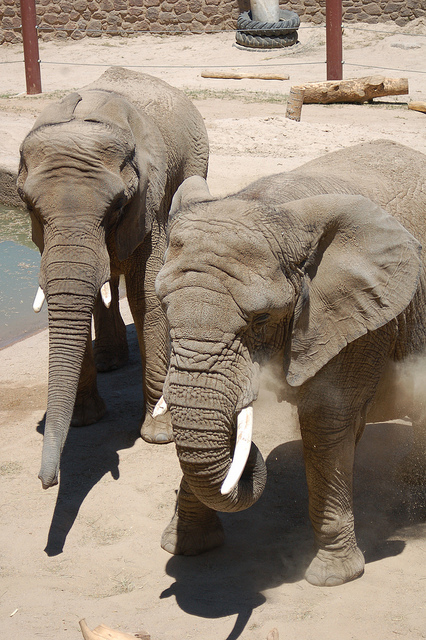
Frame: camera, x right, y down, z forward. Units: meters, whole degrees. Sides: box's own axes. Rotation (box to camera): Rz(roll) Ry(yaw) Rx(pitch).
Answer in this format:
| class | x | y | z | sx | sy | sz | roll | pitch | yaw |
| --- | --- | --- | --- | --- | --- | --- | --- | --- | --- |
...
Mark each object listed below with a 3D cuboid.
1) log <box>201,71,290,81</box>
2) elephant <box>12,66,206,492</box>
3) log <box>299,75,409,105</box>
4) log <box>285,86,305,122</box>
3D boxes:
| class | x | y | z | sx | sy | sz | roll | pitch | yaw |
| --- | --- | --- | --- | --- | --- | --- | --- | --- | --- |
| log | 0.627 | -4.630 | 15.528 | 1.973 | 0.197 | 0.338 | 4 | 5 | 13 |
| elephant | -0.615 | -0.354 | 4.983 | 1.007 | 1.985 | 2.619 | 0 | 19 | 6 |
| log | 2.316 | -3.688 | 13.178 | 1.651 | 0.443 | 0.376 | 3 | 20 | 5 |
| log | 1.148 | -3.009 | 11.438 | 0.235 | 0.458 | 0.878 | 3 | 18 | 4 |
